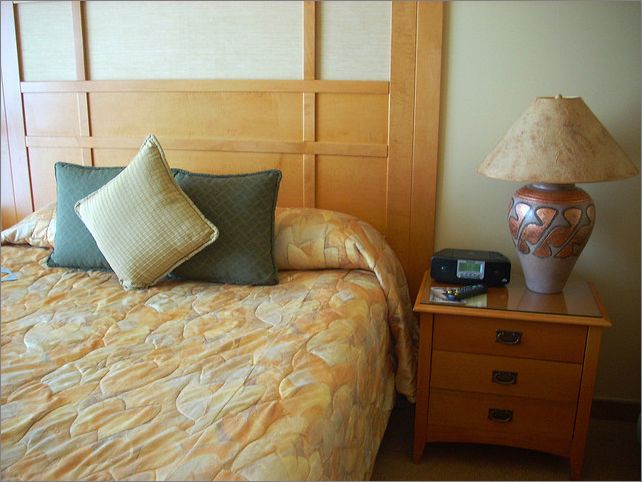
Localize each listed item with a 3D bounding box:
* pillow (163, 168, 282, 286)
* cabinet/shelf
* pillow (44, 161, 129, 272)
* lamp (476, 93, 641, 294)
[{"bbox_3d":[-0.427,-0.047,2.158,0.469,0.470,0.178,1,-9,3],"label":"pillow"},{"bbox_3d":[0.696,0.477,2.378,0.913,0.911,0.695,3,18,9],"label":"cabinet/shelf"},{"bbox_3d":[-1.053,-0.103,2.438,0.448,0.444,0.138,-2,-6,33],"label":"pillow"},{"bbox_3d":[0.927,-0.166,2.020,0.590,0.802,0.237,5,16,16],"label":"lamp"}]
